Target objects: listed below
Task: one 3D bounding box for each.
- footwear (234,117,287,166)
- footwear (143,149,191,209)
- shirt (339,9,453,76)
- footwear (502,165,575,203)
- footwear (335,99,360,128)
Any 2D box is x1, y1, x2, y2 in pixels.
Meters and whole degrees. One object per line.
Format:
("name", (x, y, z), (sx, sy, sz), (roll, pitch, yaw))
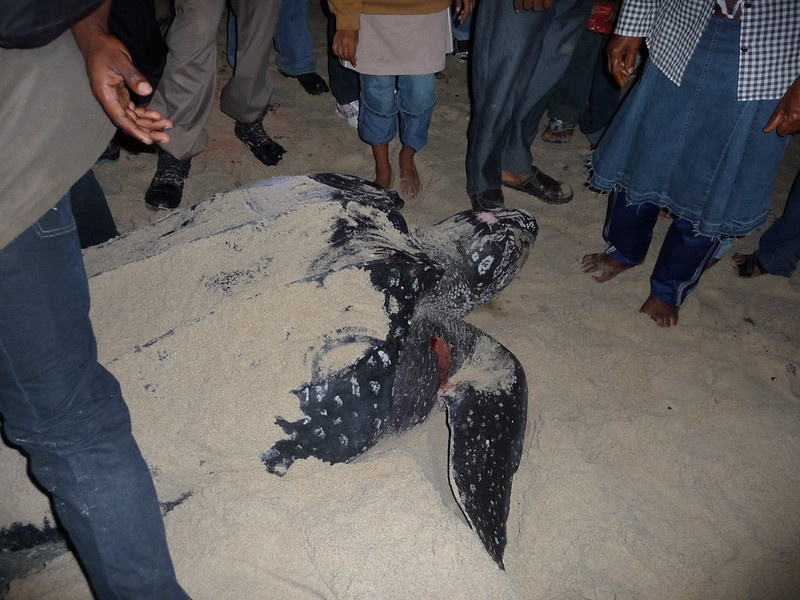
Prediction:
("footwear", (-0.831, -0.924, 4.009), (0.271, 0.191, 0.099), (39, 52, -8))
("footwear", (-1.247, -0.631, 3.646), (0.181, 0.138, 0.408), (-42, 39, 17))
("shirt", (0.011, -1.266, 3.375), (0.500, 0.355, 0.312), (-4, 61, -10))
("footwear", (0.851, -0.702, 4.195), (0.201, 0.225, 0.551), (-13, 11, -37))
("footwear", (-0.326, -1.162, 4.266), (0.131, 0.121, 0.168), (-17, 87, -19))
